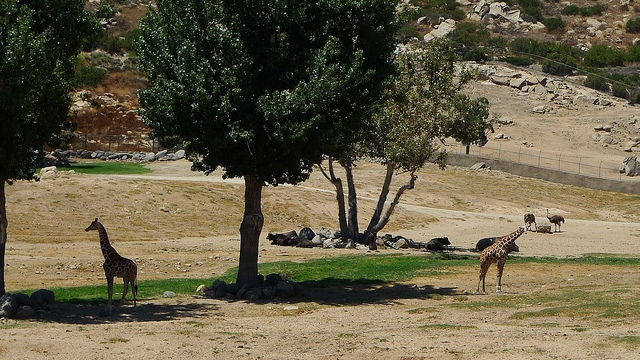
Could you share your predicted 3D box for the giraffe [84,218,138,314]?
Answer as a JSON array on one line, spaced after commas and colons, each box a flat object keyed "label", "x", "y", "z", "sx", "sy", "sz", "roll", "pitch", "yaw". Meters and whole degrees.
[{"label": "giraffe", "x": -28.122, "y": 12.116, "z": 200.296, "sx": 8.522, "sy": 14.648, "sz": 5.808, "roll": 2, "pitch": -3, "yaw": 33}]
